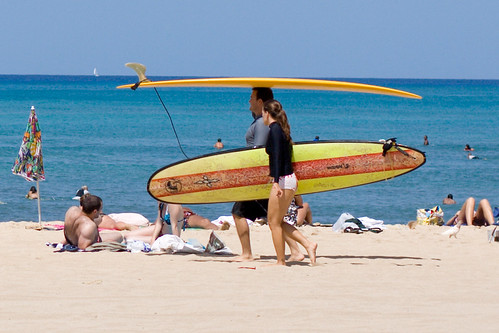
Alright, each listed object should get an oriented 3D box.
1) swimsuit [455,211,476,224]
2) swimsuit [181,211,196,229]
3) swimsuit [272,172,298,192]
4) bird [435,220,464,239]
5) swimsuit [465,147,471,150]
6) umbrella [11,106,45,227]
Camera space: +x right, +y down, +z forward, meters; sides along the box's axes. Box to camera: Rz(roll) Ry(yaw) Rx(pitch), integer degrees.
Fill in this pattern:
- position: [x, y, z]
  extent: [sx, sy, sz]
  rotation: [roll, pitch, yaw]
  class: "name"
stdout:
- position: [7.118, 1.677, 35.429]
  extent: [0.170, 0.606, 0.575]
  rotation: [0, 38, -20]
  class: "swimsuit"
- position: [-2.064, 1.769, 35.674]
  extent: [0.409, 0.459, 0.174]
  rotation: [4, 1, -10]
  class: "swimsuit"
- position: [1.065, 0.541, 31.627]
  extent: [0.511, 0.445, 0.679]
  rotation: [6, -8, -15]
  class: "swimsuit"
- position: [6.270, 2.012, 34.057]
  extent: [0.819, 0.527, 0.619]
  rotation: [-2, -4, 7]
  class: "bird"
- position: [11.089, -0.852, 54.484]
  extent: [0.303, 0.129, 0.256]
  rotation: [-1, -4, -15]
  class: "swimsuit"
- position: [-7.046, 0.052, 34.522]
  extent: [1.240, 3.538, 1.315]
  rotation: [-2, 2, -9]
  class: "umbrella"
